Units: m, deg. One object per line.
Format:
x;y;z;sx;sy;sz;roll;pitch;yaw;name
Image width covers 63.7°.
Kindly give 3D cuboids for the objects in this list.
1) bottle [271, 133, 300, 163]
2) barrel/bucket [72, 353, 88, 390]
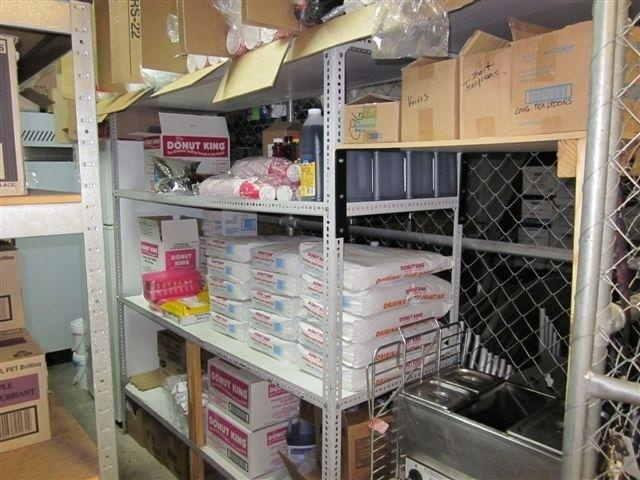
-0.143;-0.416;2.273;0.135;0.135;0.097;-1;6;0;bottle
-1.937;1.024;4.112;0.147;0.173;0.145;-6;-11;-1;barrel/bucket
